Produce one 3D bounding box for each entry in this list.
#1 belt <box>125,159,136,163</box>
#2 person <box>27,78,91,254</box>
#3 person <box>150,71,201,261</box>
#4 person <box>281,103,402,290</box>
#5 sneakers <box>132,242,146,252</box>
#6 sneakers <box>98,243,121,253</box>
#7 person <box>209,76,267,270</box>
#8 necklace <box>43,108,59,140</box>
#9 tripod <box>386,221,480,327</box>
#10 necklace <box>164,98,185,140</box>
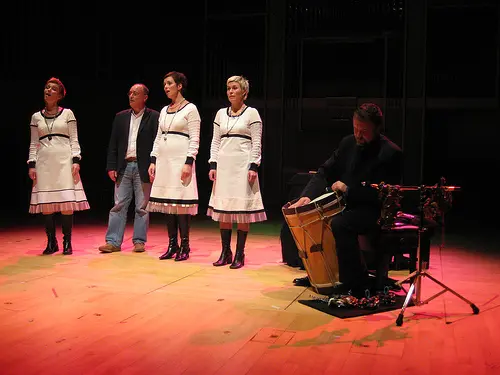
[{"bbox_3d":[-1.369,-0.302,5.134,0.075,0.029,0.055,1,-4,2],"label":"belt"},{"bbox_3d":[-2.119,-0.073,4.958,0.595,1.592,0.364,-1,6,-20],"label":"person"},{"bbox_3d":[-0.827,-0.234,4.831,0.558,1.995,0.452,0,6,-2],"label":"person"},{"bbox_3d":[0.736,0.117,3.518,0.663,1.548,0.606,7,8,44],"label":"person"},{"bbox_3d":[-1.281,0.681,5.183,0.136,0.108,0.206,-1,6,-13],"label":"sneakers"},{"bbox_3d":[-1.592,0.690,5.090,0.089,0.102,0.232,-10,-17,38],"label":"sneakers"},{"bbox_3d":[-0.141,-0.170,4.541,0.591,1.942,0.432,1,6,-2],"label":"person"},{"bbox_3d":[-2.167,-0.680,4.879,0.139,0.284,0.085,-2,6,-22],"label":"necklace"},{"bbox_3d":[1.449,0.586,3.454,0.574,0.656,1.082,3,6,20],"label":"tripod"},{"bbox_3d":[-0.842,-0.731,4.756,0.206,0.369,0.089,-6,-28,46],"label":"necklace"}]
